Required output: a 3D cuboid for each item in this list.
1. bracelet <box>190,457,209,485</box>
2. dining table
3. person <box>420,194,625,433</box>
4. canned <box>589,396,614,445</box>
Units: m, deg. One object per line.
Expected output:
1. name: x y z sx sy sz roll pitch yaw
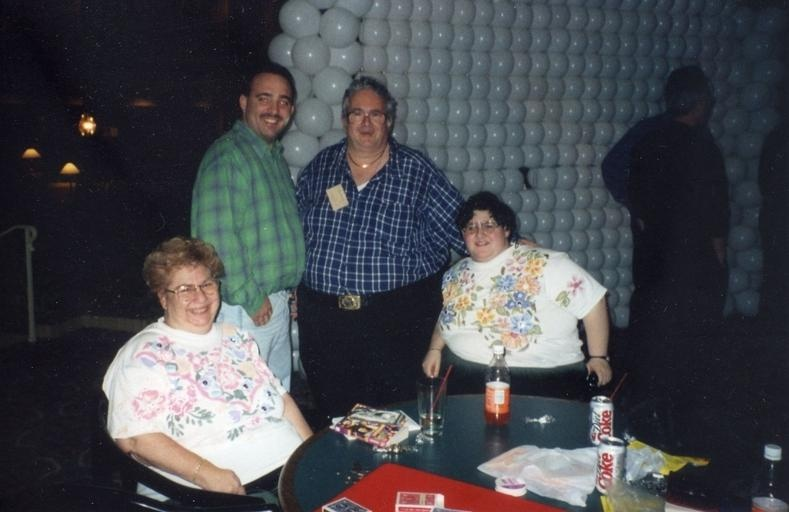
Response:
1. bracelet: -1.083 1.195 4.100 0.051 0.125 0.105 3 1 21
2. dining table: 0.264 1.069 4.079 1.799 0.325 0.660 -4 10 -19
3. person: 0.700 0.398 5.431 1.548 1.777 1.194 -6 -5 42
4. canned: 1.126 0.904 4.042 0.124 0.247 0.153 2 11 17
